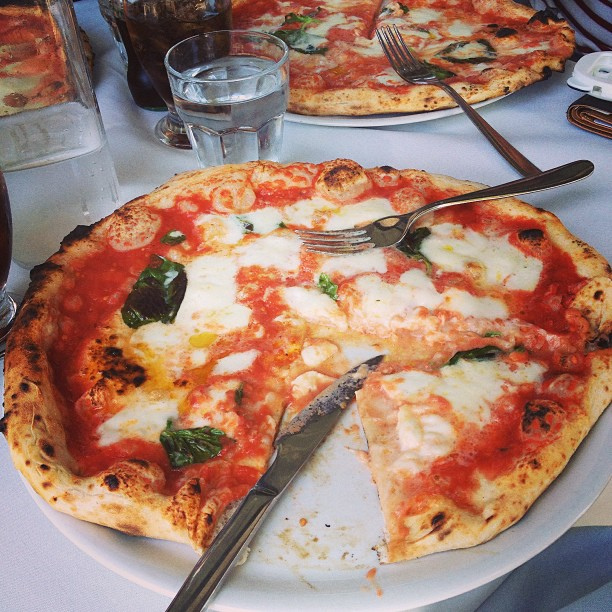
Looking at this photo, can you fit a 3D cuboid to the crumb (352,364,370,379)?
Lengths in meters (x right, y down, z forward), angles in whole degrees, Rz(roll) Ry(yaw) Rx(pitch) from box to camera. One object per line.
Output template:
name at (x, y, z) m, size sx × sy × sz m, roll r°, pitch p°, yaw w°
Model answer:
crumb at (0.070, 0.083, 0.929) m, size 0.014 × 0.004 × 0.020 m, roll 34°, pitch 63°, yaw 31°

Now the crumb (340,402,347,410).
crumb at (0.046, 0.123, 0.908) m, size 0.011 × 0.002 × 0.008 m, roll 0°, pitch 50°, yaw 1°

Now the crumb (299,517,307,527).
crumb at (-0.003, 0.237, 0.808) m, size 0.010 × 0.002 × 0.007 m, roll 8°, pitch 47°, yaw 5°
